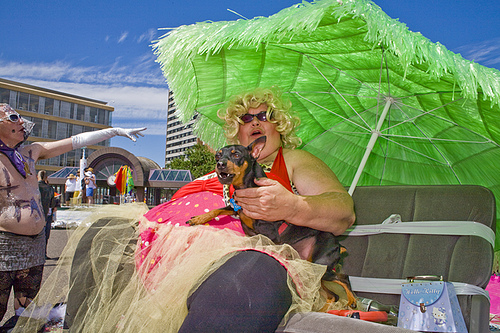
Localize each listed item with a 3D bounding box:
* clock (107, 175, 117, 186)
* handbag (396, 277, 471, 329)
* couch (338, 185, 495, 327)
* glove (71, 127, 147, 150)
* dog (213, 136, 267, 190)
[{"bbox_3d":[-12.828,1.238,33.647,1.050,0.974,0.231,0,-15,4],"label":"clock"},{"bbox_3d":[1.084,0.830,2.172,0.362,0.292,0.146,2,-1,24],"label":"handbag"},{"bbox_3d":[1.188,0.631,2.545,1.062,0.800,0.561,-7,-18,34],"label":"couch"},{"bbox_3d":[-1.699,-0.338,4.341,0.820,0.269,0.467,3,-1,-30],"label":"glove"},{"bbox_3d":[-0.059,-0.011,1.987,0.235,0.228,0.324,-15,6,34],"label":"dog"}]
